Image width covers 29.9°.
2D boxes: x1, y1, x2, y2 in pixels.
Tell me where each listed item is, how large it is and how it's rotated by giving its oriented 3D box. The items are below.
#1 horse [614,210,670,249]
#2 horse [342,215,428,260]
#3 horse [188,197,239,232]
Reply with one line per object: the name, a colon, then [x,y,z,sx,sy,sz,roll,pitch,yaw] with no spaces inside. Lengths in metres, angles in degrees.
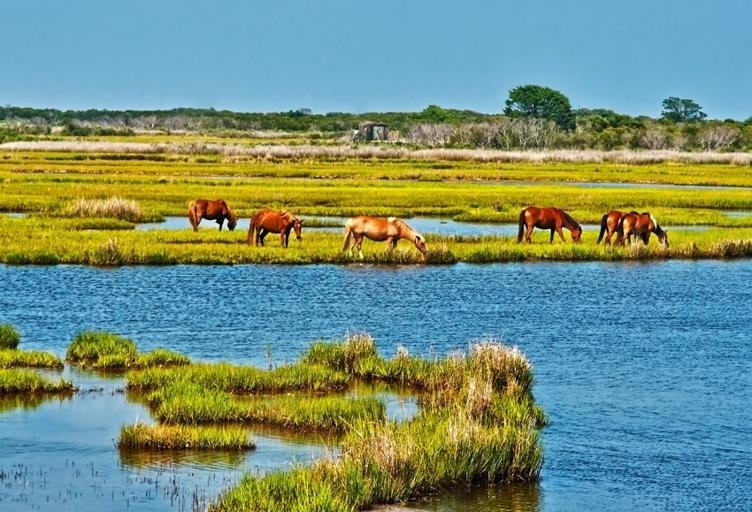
horse: [10.091,-1.097,53.719,1.944,1.320,1.591,0,3,9]
horse: [0.148,-0.809,50.851,2.786,1.402,1.369,-1,3,-2]
horse: [-6.528,-1.672,56.215,2.380,1.450,0.599,4,3,-44]
